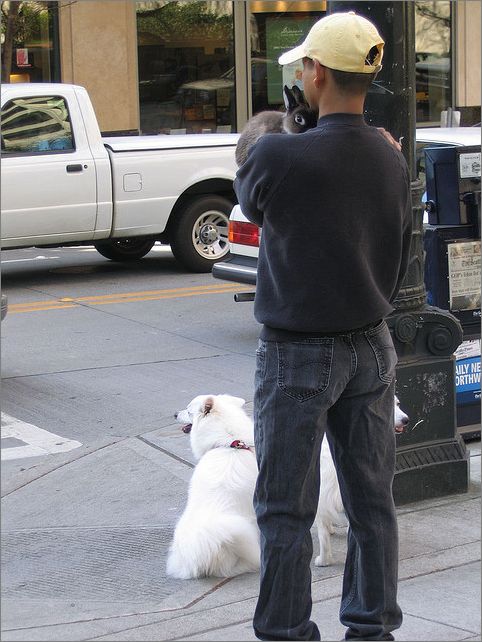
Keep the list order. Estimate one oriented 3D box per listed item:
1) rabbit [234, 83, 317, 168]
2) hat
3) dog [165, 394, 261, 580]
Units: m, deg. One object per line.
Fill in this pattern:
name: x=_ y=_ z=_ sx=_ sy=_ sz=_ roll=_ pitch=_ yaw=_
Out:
rabbit: x=0.126 y=-0.596 z=2.266 sx=0.147 sy=0.214 sz=0.324 roll=-24 pitch=25 yaw=-30
hat: x=0.246 y=-0.707 z=1.959 sx=0.241 sy=0.185 sz=0.115 roll=-7 pitch=19 yaw=-25
dog: x=-0.137 y=0.716 z=3.400 sx=0.482 sy=0.864 sz=0.301 roll=31 pitch=-42 yaw=-29
